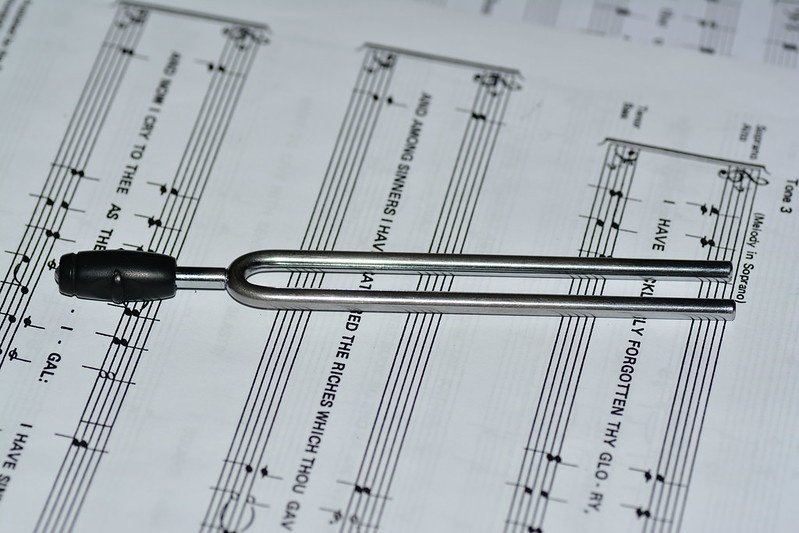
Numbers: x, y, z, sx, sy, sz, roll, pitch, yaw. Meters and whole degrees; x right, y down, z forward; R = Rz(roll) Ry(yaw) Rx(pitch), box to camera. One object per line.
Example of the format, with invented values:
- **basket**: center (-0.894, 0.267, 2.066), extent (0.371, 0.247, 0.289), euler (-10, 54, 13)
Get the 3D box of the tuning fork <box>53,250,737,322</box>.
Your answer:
- **tuning fork**: center (-0.012, 0.027, 1.454), extent (0.784, 0.079, 0.059), euler (2, 0, 1)
